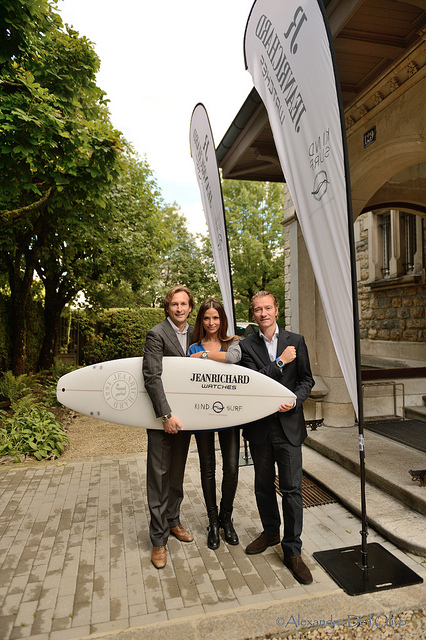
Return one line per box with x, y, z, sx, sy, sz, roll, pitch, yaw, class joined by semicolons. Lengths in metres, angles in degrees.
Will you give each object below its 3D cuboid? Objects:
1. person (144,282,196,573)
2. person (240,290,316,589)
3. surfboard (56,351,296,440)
-0.259;0.627;2.915;0.373;1.699;0.577;-3;3;-8;person
0.352;0.642;2.713;0.500;1.619;0.538;-1;3;23;person
-0.229;0.528;3.056;1.401;0.456;1.411;2;1;-2;surfboard
